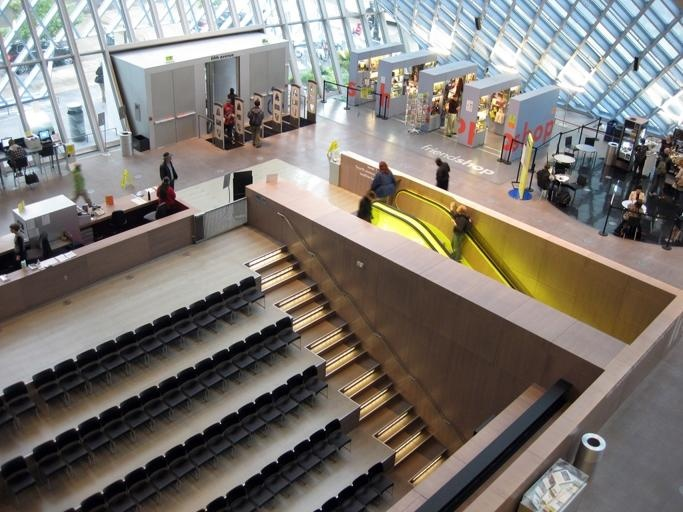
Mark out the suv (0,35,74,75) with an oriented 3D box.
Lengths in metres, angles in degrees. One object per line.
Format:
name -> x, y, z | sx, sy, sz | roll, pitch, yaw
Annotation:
suv -> -11.122, -7.418, 17.869 | 2.101, 0.826, 0.998 | -21, 47, -28

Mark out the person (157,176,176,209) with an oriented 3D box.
person -> -4.880, -1.750, 13.502 | 0.454, 0.797, 0.541 | -10, 29, -21

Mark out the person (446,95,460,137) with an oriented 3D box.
person -> 4.908, -6.212, 21.443 | 0.509, 1.576, 1.222 | 7, 28, 11

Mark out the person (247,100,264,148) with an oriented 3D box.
person -> -3.403, -5.288, 19.240 | 0.501, 1.838, 0.607 | -4, 27, -10

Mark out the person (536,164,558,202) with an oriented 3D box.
person -> 7.152, -2.618, 17.037 | 0.665, 1.170, 0.341 | 13, 29, 22

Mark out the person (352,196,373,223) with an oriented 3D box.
person -> 0.604, -1.280, 13.697 | 0.390, 0.766, 0.549 | -18, 45, -23

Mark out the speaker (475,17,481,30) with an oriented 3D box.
speaker -> 6.409, -10.916, 22.813 | 0.259, 0.534, 0.743 | 7, 29, 12

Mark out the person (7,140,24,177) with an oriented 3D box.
person -> -10.890, -3.389, 16.248 | 0.461, 0.998, 0.262 | -16, 31, -30

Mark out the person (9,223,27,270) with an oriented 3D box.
person -> -7.678, -0.197, 11.533 | 0.347, 1.183, 0.434 | -7, 39, -30

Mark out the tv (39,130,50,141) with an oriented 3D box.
tv -> -10.559, -4.268, 17.254 | 0.112, 0.348, 0.319 | 21, 29, 40

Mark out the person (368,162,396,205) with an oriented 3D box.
person -> 1.321, -2.149, 14.690 | 0.691, 1.603, 0.523 | -9, 44, 1

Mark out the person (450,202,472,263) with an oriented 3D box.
person -> 3.265, -0.632, 13.359 | 0.504, 1.558, 0.623 | 0, 27, -2

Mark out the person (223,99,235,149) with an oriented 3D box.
person -> -4.464, -5.350, 19.473 | 0.414, 1.678, 1.120 | -2, 27, -6
